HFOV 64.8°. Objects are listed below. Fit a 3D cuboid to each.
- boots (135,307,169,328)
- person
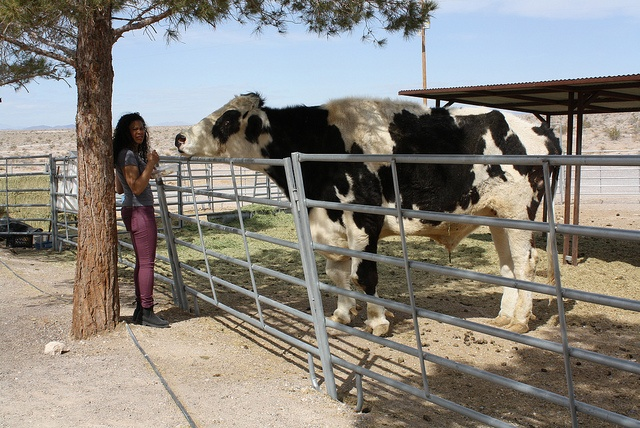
[{"bbox_3d":[-1.907,1.231,5.971,0.466,0.246,0.173,3,1,-3],"label":"boots"},{"bbox_3d":[-2.094,0.082,5.881,0.515,2.486,0.862,-3,16,-25],"label":"person"}]
